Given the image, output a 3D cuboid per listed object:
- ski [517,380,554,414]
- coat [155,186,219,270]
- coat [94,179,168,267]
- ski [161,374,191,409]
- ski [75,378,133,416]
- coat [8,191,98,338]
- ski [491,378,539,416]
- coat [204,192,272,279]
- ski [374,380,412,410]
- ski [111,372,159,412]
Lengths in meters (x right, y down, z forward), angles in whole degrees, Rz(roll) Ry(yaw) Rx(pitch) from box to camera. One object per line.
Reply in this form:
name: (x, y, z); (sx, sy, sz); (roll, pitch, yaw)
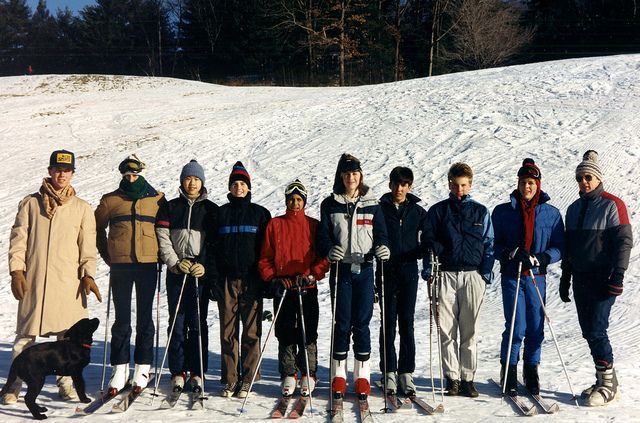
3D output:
ski: (4.728, 4.195, 15.531); (0.198, 0.183, 1.330); (-14, 32, -12)
coat: (-3.053, 0.463, 16.010); (1.869, 2.237, 0.749); (3, -9, -14)
coat: (-4.376, 0.267, 16.360); (1.935, 1.827, 0.935); (-1, -2, -14)
ski: (-3.263, 4.096, 15.666); (0.184, 0.151, 0.736); (7, 30, 11)
ski: (-4.830, 4.196, 15.702); (0.243, 0.195, 1.787); (21, 22, 12)
coat: (-6.019, 1.192, 15.814); (1.834, 3.244, 0.601); (-1, 2, -18)
ski: (4.296, 4.122, 15.918); (0.277, 0.266, 1.940); (-12, 24, -14)
coat: (-1.887, 0.640, 15.958); (1.882, 2.220, 0.796); (3, -10, -4)
ski: (1.684, 4.137, 15.902); (0.249, 0.253, 1.735); (-4, 18, -12)
ski: (-4.218, 4.050, 15.821); (0.264, 0.241, 1.786); (5, 22, 7)
